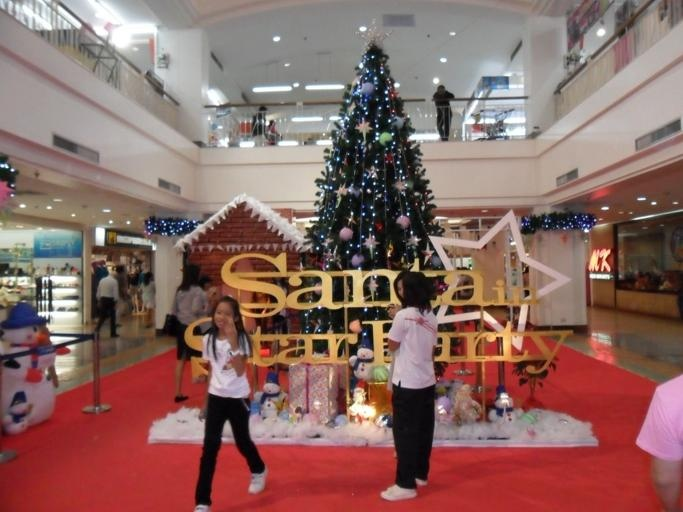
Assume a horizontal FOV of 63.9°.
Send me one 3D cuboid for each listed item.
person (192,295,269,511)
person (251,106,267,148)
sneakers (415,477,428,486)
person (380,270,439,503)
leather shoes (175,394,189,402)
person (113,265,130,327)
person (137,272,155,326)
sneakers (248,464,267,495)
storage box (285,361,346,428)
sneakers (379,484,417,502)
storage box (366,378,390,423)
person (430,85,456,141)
[{"bbox_3d":[-1.090,1.446,5.478,0.656,2.083,0.390,2,-5,-17],"label":"person"},{"bbox_3d":[-1.819,-2.843,12.009,0.416,0.802,0.259,0,7,-6],"label":"person"},{"bbox_3d":[0.817,2.316,5.608,0.113,0.090,0.070,8,-7,7],"label":"sneakers"},{"bbox_3d":[0.701,1.250,5.503,0.497,2.161,0.276,4,-6,-34],"label":"person"},{"bbox_3d":[-2.217,1.967,7.617,0.073,0.101,0.233,1,1,15],"label":"leather shoes"},{"bbox_3d":[-6.178,1.123,15.566,0.486,1.893,0.466,6,12,-20],"label":"person"},{"bbox_3d":[-4.851,1.038,13.820,0.387,1.381,0.399,1,5,7],"label":"person"},{"bbox_3d":[-0.850,2.277,5.569,0.103,0.136,0.300,-3,9,9],"label":"sneakers"},{"bbox_3d":[-0.359,1.694,6.966,0.669,0.756,0.695,2,-7,-28],"label":"storage box"},{"bbox_3d":[0.566,2.352,5.448,0.282,0.140,0.166,1,-8,3],"label":"sneakers"},{"bbox_3d":[0.476,1.716,6.854,0.286,0.608,0.315,-2,29,3],"label":"storage box"},{"bbox_3d":[2.265,-3.193,12.155,0.435,1.459,0.820,0,-5,12],"label":"person"}]
